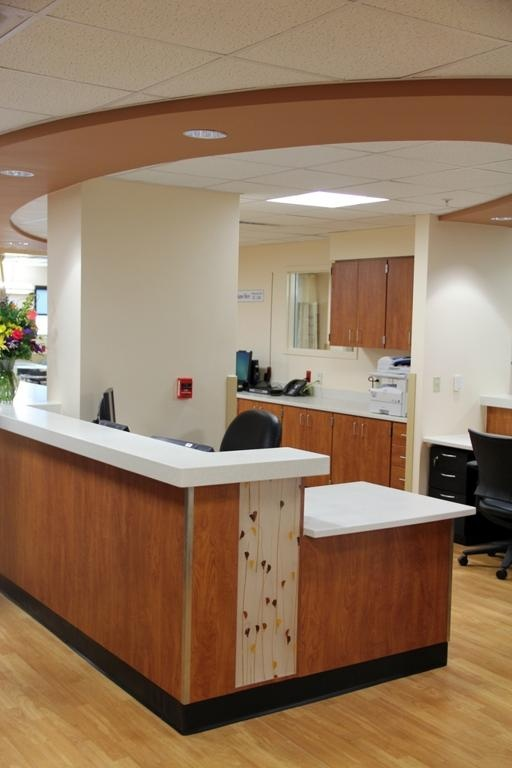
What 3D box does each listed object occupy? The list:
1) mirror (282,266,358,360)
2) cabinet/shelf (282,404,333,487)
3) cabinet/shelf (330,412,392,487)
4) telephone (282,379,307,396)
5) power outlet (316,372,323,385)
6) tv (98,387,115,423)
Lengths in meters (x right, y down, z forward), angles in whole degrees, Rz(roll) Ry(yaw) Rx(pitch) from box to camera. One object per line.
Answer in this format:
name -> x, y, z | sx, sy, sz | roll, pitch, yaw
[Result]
mirror -> 0.736, -0.803, 6.740 | 1.105, 1.353, 0.058 | 0, -1, 41
cabinet/shelf -> 0.503, 0.470, 6.117 | 0.181, 0.476, 0.806 | 3, -3, -30
cabinet/shelf -> 0.969, 0.581, 5.388 | 0.230, 0.640, 0.637 | -2, 5, -37
telephone -> 0.439, 0.048, 6.851 | 0.284, 0.207, 0.210 | 1, -3, 4
power outlet -> 0.721, -0.061, 6.811 | 0.017, 0.158, 0.111 | -5, 12, -32
tv -> -0.865, 0.126, 3.469 | 0.075, 0.143, 0.149 | 2, 37, -15
